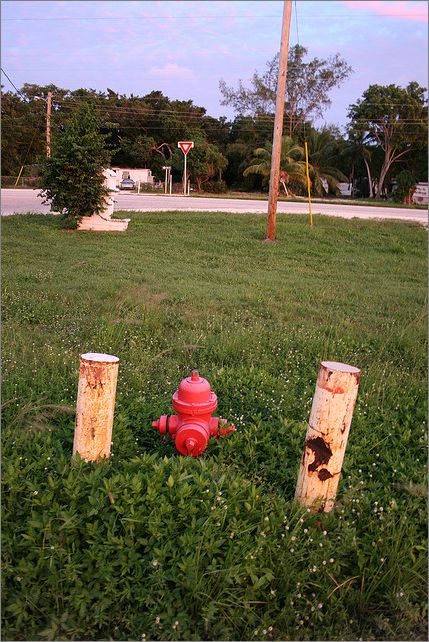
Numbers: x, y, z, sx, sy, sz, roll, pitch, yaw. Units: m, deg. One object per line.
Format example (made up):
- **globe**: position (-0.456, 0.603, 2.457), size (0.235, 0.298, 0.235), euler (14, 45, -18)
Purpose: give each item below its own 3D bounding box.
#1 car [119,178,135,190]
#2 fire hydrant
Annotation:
- **car**: position (-6.889, -10.793, 42.911), size (1.184, 0.848, 1.501), euler (2, 12, -11)
- **fire hydrant**: position (-0.110, 0.457, 2.961), size (0.561, 0.622, 0.397), euler (0, 8, 0)
